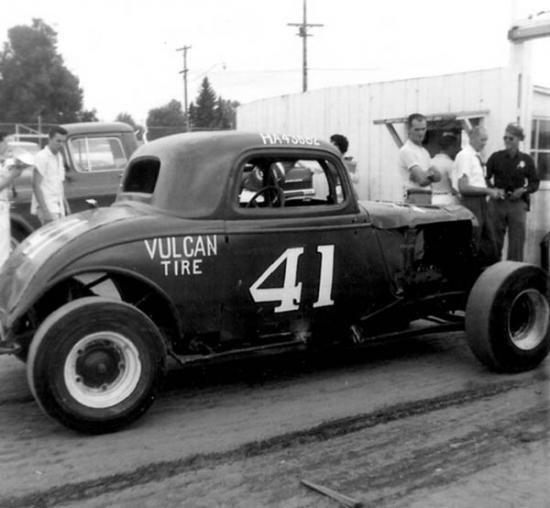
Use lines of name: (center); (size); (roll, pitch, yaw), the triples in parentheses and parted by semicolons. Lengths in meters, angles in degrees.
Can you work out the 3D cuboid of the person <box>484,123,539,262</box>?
person: (3.259, -0.679, 8.245); (0.596, 2.154, 0.556); (4, 26, 27)
